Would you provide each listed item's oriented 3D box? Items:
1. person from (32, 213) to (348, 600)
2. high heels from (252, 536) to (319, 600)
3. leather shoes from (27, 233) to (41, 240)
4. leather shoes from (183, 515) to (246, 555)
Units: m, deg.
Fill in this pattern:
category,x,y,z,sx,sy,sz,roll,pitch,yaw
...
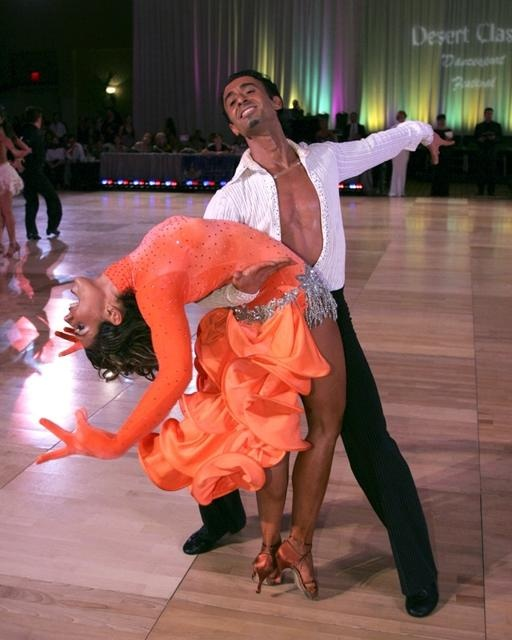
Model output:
category,x,y,z,sx,sy,sz,roll,pitch,yaw
person,-0.131,0.234,1.265,0.636,0.901,0.364,-4,13,-18
high heels,0.067,0.573,1.337,0.133,0.084,0.203,-1,-25,10
leather shoes,-2.825,-1.085,7.520,0.184,0.105,0.053,-5,36,-13
leather shoes,-0.109,0.600,1.637,0.131,0.079,0.040,-22,50,-9
